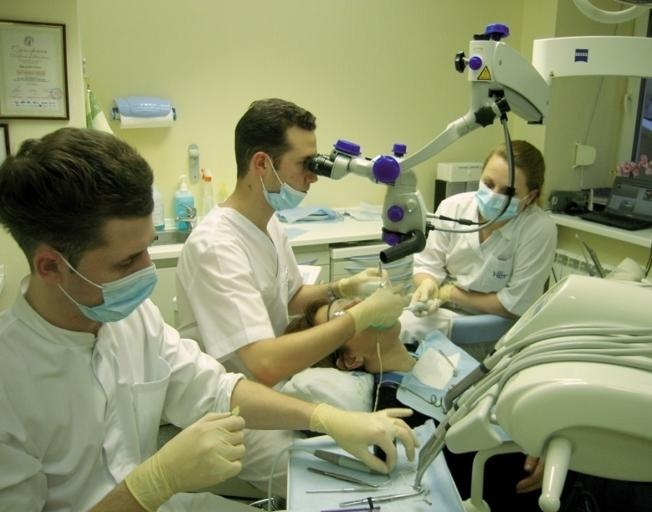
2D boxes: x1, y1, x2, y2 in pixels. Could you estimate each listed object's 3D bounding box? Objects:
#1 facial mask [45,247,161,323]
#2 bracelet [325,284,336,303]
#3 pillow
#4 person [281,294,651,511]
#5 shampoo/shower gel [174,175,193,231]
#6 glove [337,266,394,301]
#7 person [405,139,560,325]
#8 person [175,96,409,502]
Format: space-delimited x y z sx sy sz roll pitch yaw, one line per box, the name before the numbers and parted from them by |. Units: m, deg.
facial mask | -0.699 0.110 1.799 0.289 0.187 0.281 19 -9 -15
bracelet | 0.025 0.173 2.742 0.041 0.058 0.035 -9 11 -37
pillow | 0.176 0.464 2.309 0.497 0.187 0.521 19 18 23
person | 0.317 0.568 2.235 0.735 0.221 0.872 -2 25 -15
shampoo/shower gel | -0.937 -0.349 4.018 0.127 0.376 0.080 -2 -15 -14
glove | 0.168 0.115 2.604 0.206 0.171 0.159 -18 -32 25
person | 0.835 -0.099 3.182 0.668 1.049 0.648 20 50 18
person | -0.159 0.290 2.568 0.877 1.777 0.975 -2 7 -22
